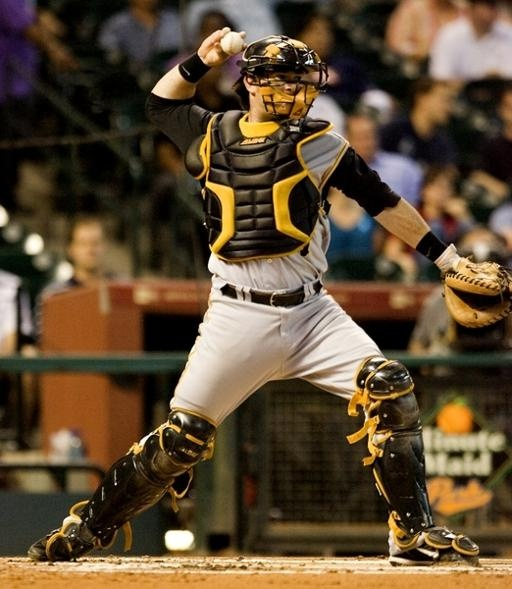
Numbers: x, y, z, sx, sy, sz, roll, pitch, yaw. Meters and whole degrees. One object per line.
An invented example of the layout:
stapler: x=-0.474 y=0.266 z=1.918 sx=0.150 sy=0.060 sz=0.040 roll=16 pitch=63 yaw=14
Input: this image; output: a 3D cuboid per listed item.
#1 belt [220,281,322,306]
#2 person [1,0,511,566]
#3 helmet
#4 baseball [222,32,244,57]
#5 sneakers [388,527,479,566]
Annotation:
belt: x=0.041 y=0.001 z=3.943 sx=0.368 sy=0.082 sz=0.120 roll=2 pitch=11 yaw=-2
person: x=0.105 y=0.033 z=4.020 sx=1.677 sy=2.140 sz=0.683 roll=5 pitch=13 yaw=7
helmet: x=0.126 y=-0.861 z=4.087 sx=0.380 sy=0.281 sz=0.395 roll=-2 pitch=5 yaw=-30
baseball: x=-0.090 y=-0.985 z=4.002 sx=0.112 sy=0.080 sz=0.095 roll=-3 pitch=-4 yaw=1
sneakers: x=0.668 y=0.963 z=3.859 sx=0.391 sy=0.132 sz=0.145 roll=-7 pitch=-11 yaw=22
